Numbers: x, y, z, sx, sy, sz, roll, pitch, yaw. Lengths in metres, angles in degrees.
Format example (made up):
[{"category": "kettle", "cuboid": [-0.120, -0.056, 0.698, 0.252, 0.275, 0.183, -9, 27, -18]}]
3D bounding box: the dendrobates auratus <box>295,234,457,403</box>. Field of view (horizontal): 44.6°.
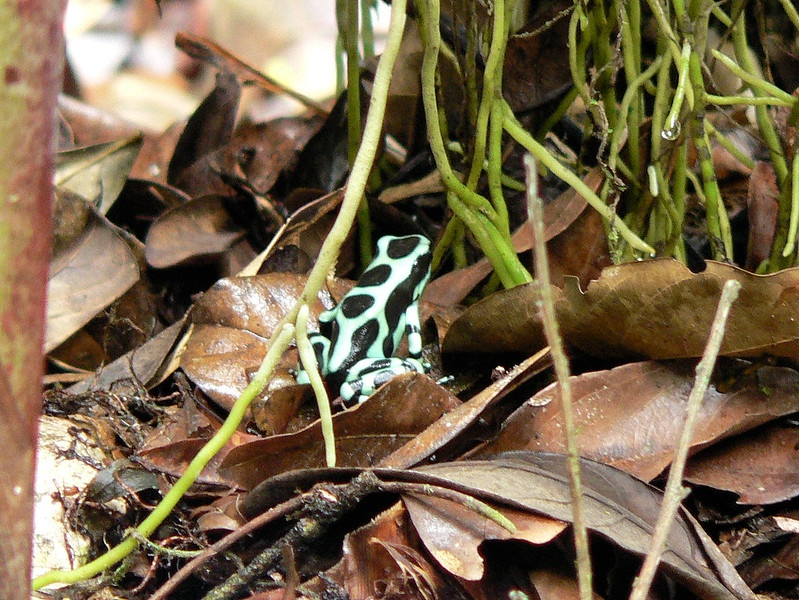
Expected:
[{"category": "dendrobates auratus", "cuboid": [-0.084, 0.061, 2.703, 0.356, 0.262, 0.573, 13, 35, 31]}]
